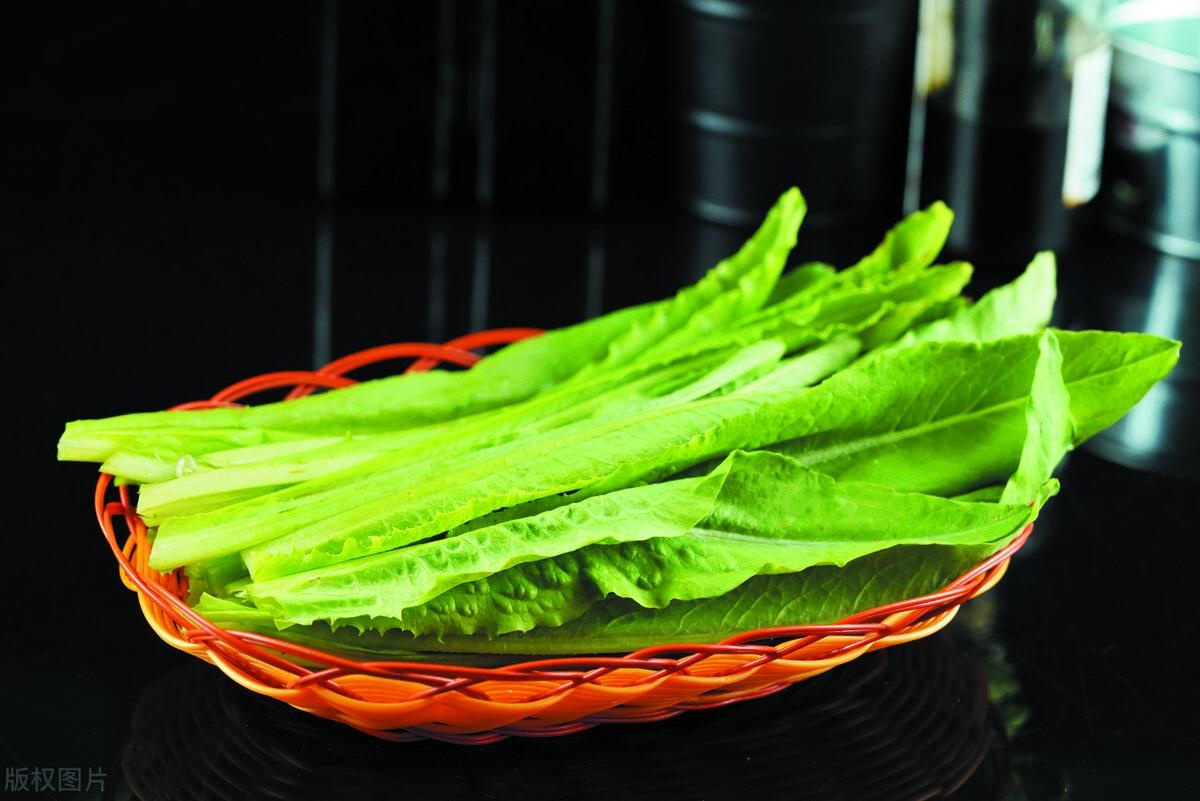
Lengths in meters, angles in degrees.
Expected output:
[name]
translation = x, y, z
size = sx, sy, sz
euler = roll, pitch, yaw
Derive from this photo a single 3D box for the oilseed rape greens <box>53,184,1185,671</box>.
[oilseed rape greens]
translation = 0.018, 0.036, 0.755
size = 0.618, 0.168, 0.353
euler = -8, 24, -14
